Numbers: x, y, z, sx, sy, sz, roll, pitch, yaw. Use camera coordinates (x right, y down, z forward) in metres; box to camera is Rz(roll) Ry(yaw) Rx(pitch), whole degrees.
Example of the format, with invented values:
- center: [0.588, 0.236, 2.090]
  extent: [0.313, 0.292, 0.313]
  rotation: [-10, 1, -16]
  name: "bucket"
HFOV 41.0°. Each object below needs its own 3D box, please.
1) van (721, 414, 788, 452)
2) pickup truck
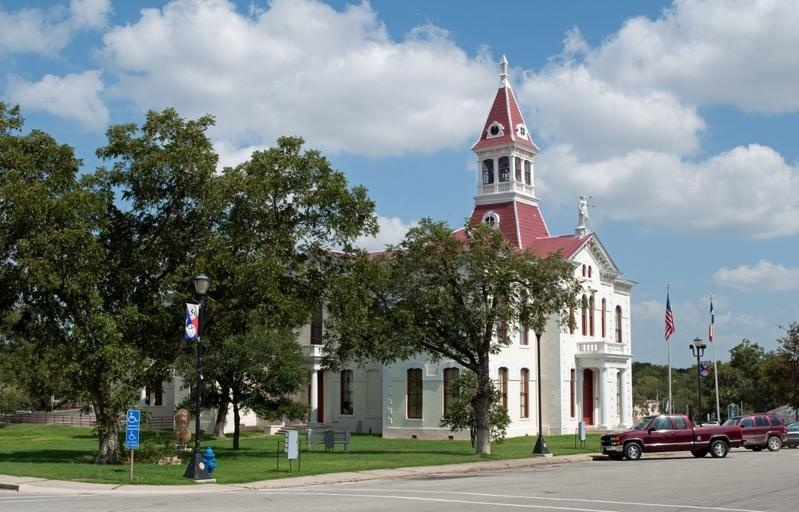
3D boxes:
- center: [20.922, 10.629, 64.924]
  extent: [4.904, 2.299, 2.275]
  rotation: [0, 1, -14]
  name: "van"
- center: [15.363, 10.332, 61.121]
  extent: [7.482, 2.263, 3.049]
  rotation: [2, -11, -6]
  name: "pickup truck"
